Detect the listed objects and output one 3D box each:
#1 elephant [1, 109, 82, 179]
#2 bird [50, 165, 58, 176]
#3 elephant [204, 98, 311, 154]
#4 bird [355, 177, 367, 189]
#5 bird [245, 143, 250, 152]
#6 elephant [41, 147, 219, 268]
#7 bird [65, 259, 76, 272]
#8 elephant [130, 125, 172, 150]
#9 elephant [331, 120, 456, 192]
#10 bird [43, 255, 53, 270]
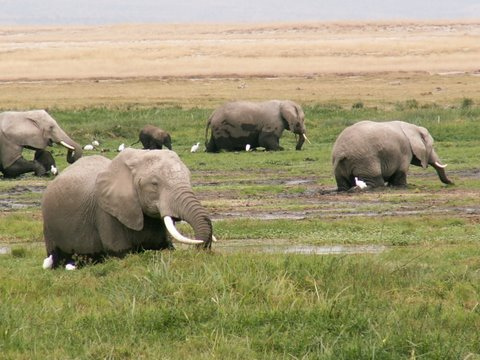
[{"bbox_3d":[-6.577,-1.574,31.497,4.045,2.207,1.729,-5,20,-4],"label":"elephant"},{"bbox_3d":[-6.487,-0.346,31.129,0.178,0.296,0.385,0,-19,8],"label":"bird"},{"bbox_3d":[0.787,-2.169,37.112,4.634,2.520,1.874,0,15,-1],"label":"elephant"},{"bbox_3d":[3.628,0.071,26.898,0.303,0.282,0.714,6,1,-1],"label":"bird"},{"bbox_3d":[0.315,-1.355,36.490,0.165,0.221,0.072,5,1,34],"label":"bird"},{"bbox_3d":[-2.389,0.905,18.924,4.490,3.113,1.920,-3,1,35],"label":"elephant"},{"bbox_3d":[-3.507,1.771,18.566,0.170,0.099,0.240,-3,11,3],"label":"bird"},{"bbox_3d":[-3.512,-1.709,37.064,1.943,1.038,0.658,12,15,20],"label":"elephant"},{"bbox_3d":[4.831,-0.469,27.942,4.106,2.698,1.868,-7,4,-25],"label":"elephant"},{"bbox_3d":[-4.005,1.725,18.739,0.132,0.247,0.171,5,-29,21],"label":"bird"}]
